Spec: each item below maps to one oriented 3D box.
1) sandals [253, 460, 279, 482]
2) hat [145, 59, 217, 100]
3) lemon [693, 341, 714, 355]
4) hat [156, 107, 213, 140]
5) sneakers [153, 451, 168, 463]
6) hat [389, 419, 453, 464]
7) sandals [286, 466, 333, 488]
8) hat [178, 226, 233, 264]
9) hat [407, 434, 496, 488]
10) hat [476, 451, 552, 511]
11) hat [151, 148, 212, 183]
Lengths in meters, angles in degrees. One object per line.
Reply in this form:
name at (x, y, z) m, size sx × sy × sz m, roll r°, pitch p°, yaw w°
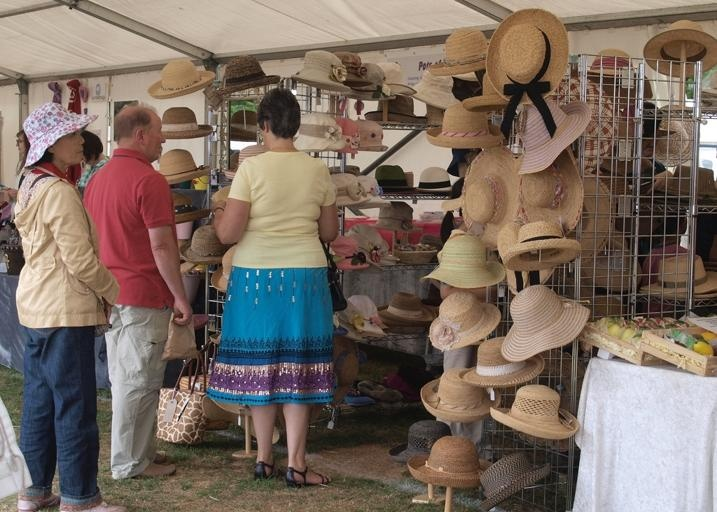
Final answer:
sandals at (-0.619, 1.407, 4.741) m, size 0.098 × 0.066 × 0.176 m, roll 1°, pitch 1°, yaw 10°
hat at (-1.648, -1.613, 6.630) m, size 0.691 × 0.207 × 0.639 m, roll -10°, pitch 1°, yaw 31°
lemon at (1.782, 0.485, 3.771) m, size 0.088 × 0.060 × 0.070 m, roll 32°, pitch -3°, yaw 19°
hat at (-1.625, -1.225, 6.457) m, size 0.570 × 0.196 × 0.562 m, roll 3°, pitch 19°, yaw -17°
sneakers at (-1.382, 1.401, 5.044) m, size 0.054 × 0.050 × 0.129 m, roll 1°, pitch -2°, yaw -4°
hat at (0.429, 1.290, 5.049) m, size 0.413 × 0.135 × 0.328 m, roll -2°, pitch 6°, yaw -17°
sandals at (-0.342, 1.449, 4.778) m, size 0.319 × 0.101 × 0.118 m, roll -1°, pitch 3°, yaw -31°
hat at (-1.123, -0.114, 5.527) m, size 0.498 × 0.158 × 0.469 m, roll -11°, pitch 28°, yaw -10°
hat at (0.579, 1.285, 4.504) m, size 0.526 × 0.171 × 0.529 m, roll 2°, pitch 1°, yaw 0°
hat at (0.964, 1.342, 4.277) m, size 0.447 × 0.115 × 0.316 m, roll -25°, pitch 15°, yaw -25°
hat at (-1.516, -0.780, 6.135) m, size 0.588 × 0.206 × 0.526 m, roll -2°, pitch 18°, yaw 16°
